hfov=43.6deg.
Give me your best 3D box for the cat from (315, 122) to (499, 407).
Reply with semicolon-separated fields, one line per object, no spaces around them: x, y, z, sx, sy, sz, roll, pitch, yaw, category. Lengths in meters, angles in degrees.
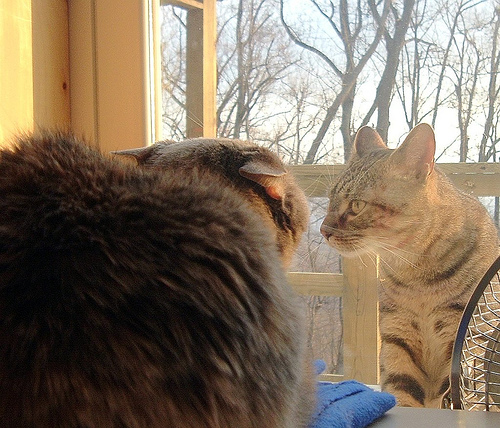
0.456;0.140;1.851;0.512;0.823;0.352;5;-6;11;cat
